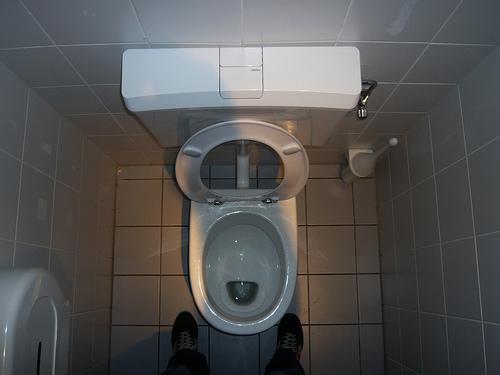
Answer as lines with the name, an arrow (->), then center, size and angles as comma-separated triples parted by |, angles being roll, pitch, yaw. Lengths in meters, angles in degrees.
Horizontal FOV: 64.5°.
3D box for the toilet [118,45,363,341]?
toilet -> -0.029, 0.194, 1.906 | 0.736, 1.384, 1.021 | -4, 64, -5
